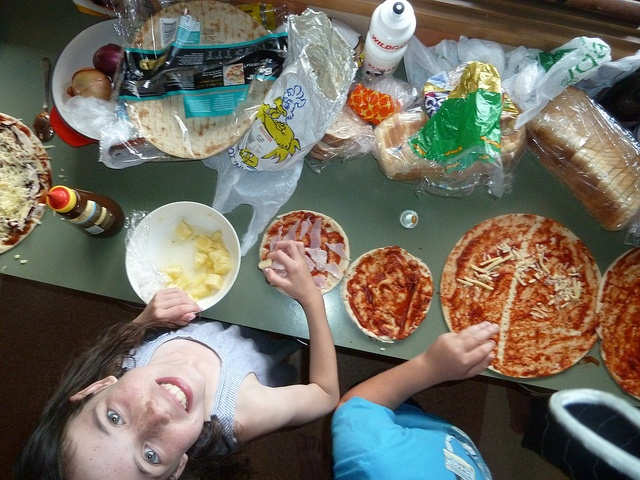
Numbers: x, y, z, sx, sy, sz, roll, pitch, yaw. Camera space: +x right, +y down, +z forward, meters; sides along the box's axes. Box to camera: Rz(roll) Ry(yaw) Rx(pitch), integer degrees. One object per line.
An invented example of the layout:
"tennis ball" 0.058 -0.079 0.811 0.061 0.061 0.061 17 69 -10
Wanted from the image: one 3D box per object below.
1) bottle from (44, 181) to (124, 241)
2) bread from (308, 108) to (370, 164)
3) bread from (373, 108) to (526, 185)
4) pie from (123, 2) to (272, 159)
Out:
"bottle" -0.681 -0.092 1.394 0.122 0.257 0.123 1 74 -3
"bread" 0.053 -0.310 1.478 0.178 0.071 0.130 -1 85 -5
"bread" 0.385 -0.285 1.487 0.415 0.119 0.192 -10 87 4
"pie" -0.335 -0.434 1.302 0.385 0.144 0.429 12 74 -1
